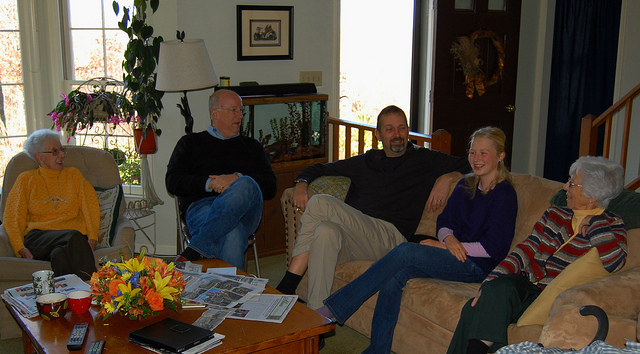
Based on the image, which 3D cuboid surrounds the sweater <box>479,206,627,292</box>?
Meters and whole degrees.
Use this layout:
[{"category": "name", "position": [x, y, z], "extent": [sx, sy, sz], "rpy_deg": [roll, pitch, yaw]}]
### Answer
[{"category": "sweater", "position": [1.692, 0.499, 3.166], "extent": [0.911, 0.347, 0.579], "rpy_deg": [-27, 18, -27]}]

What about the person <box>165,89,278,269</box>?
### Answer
[{"category": "person", "position": [-0.910, 0.031, 4.243], "extent": [1.006, 1.704, 0.972], "rpy_deg": [-5, 10, -19]}]

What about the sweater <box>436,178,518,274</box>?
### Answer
[{"category": "sweater", "position": [1.295, 0.349, 3.703], "extent": [0.428, 0.691, 0.746], "rpy_deg": [-5, 17, -23]}]

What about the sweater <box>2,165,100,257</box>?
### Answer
[{"category": "sweater", "position": [-2.374, 0.315, 3.948], "extent": [0.832, 0.775, 0.467], "rpy_deg": [0, -3, -13]}]

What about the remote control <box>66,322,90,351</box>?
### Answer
[{"category": "remote control", "position": [-1.527, 1.006, 2.852], "extent": [0.100, 0.051, 0.247], "rpy_deg": [2, 36, -4]}]

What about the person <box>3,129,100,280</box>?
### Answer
[{"category": "person", "position": [-2.255, 0.202, 3.901], "extent": [0.846, 1.203, 0.599], "rpy_deg": [4, 11, 32]}]

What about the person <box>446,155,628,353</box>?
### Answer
[{"category": "person", "position": [1.594, 0.531, 3.174], "extent": [1.298, 1.306, 0.485], "rpy_deg": [-4, 10, -18]}]

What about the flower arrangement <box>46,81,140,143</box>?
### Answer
[{"category": "flower arrangement", "position": [-2.364, -0.755, 4.868], "extent": [0.989, 0.537, 0.740], "rpy_deg": [3, 7, 14]}]

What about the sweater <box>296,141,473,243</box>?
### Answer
[{"category": "sweater", "position": [0.577, 0.081, 4.107], "extent": [1.566, 0.613, 0.930], "rpy_deg": [-4, 17, 30]}]

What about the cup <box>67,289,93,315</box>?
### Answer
[{"category": "cup", "position": [-1.626, 0.834, 3.074], "extent": [0.163, 0.113, 0.162], "rpy_deg": [0, -5, 0]}]

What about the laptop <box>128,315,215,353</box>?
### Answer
[{"category": "laptop", "position": [-0.930, 0.989, 2.847], "extent": [0.258, 0.058, 0.267], "rpy_deg": [9, 10, 26]}]

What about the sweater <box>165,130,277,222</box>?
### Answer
[{"category": "sweater", "position": [-0.970, -0.040, 4.519], "extent": [1.137, 0.853, 0.631], "rpy_deg": [2, 5, -5]}]

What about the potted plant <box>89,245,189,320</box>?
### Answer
[{"category": "potted plant", "position": [-1.222, 0.720, 3.026], "extent": [0.592, 0.451, 0.257], "rpy_deg": [-4, 9, -17]}]

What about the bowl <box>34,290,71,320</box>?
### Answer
[{"category": "bowl", "position": [-1.795, 0.850, 3.029], "extent": [0.183, 0.112, 0.188], "rpy_deg": [1, -4, 0]}]

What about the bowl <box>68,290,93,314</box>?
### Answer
[{"category": "bowl", "position": [-1.626, 0.843, 3.069], "extent": [0.148, 0.111, 0.158], "rpy_deg": [0, -3, 0]}]

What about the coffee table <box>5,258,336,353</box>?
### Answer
[{"category": "coffee table", "position": [-0.980, 0.996, 3.112], "extent": [2.138, 0.448, 0.720], "rpy_deg": [-2, 8, -5]}]

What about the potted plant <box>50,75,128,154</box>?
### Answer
[{"category": "potted plant", "position": [-2.384, -0.647, 5.097], "extent": [0.823, 0.713, 1.011], "rpy_deg": [1, 1, 16]}]

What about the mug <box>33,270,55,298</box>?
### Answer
[{"category": "mug", "position": [-1.904, 0.726, 3.132], "extent": [0.130, 0.139, 0.200], "rpy_deg": [-1, 14, -17]}]
